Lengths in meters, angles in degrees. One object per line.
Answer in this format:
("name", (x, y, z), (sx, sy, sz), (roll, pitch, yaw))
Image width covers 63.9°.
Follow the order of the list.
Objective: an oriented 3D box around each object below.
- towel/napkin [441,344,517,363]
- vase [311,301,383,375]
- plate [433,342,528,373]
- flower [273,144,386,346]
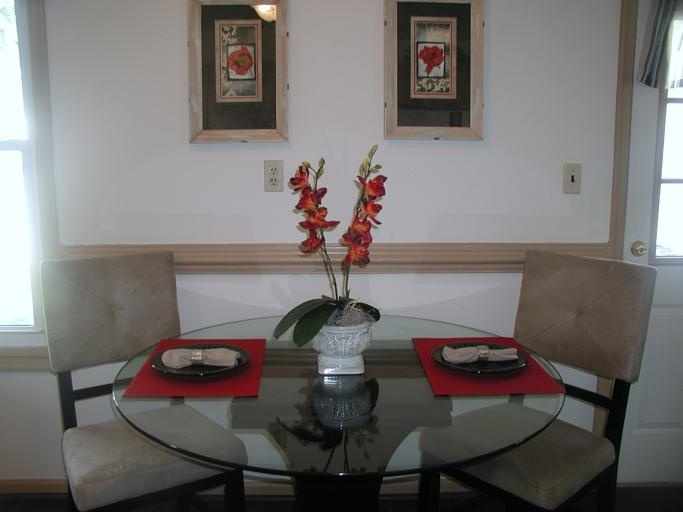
("towel/napkin", (0.512, 0.370, 2.036), (0.186, 0.045, 0.104), (0, -3, -7))
("vase", (0.009, 0.314, 2.079), (0.259, 0.195, 0.255), (1, 6, 5))
("plate", (0.514, 0.408, 2.014), (0.268, 0.030, 0.274), (-3, 0, 0))
("flower", (-0.040, -0.042, 2.241), (0.432, 0.807, 0.913), (0, 13, 3))
